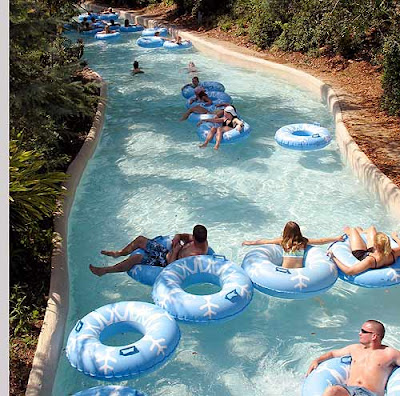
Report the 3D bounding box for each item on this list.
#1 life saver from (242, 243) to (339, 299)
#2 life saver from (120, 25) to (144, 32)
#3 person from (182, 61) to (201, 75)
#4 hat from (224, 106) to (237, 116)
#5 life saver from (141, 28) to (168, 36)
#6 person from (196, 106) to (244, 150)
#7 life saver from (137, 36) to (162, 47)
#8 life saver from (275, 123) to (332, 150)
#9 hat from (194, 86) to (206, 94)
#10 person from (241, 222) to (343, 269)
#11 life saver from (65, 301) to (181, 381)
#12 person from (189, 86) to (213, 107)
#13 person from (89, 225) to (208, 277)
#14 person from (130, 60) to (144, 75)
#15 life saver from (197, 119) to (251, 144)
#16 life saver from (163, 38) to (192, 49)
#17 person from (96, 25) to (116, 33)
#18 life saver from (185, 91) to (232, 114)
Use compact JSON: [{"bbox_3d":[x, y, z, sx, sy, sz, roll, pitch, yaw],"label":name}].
[{"bbox_3d":[1.383,1.180,6.508,1.433,0.490,0.963,8,20,18],"label":"life saver"},{"bbox_3d":[-4.605,-11.250,27.447,1.291,0.293,1.156,3,22,5],"label":"life saver"},{"bbox_3d":[-0.363,-5.631,18.180,0.753,0.298,0.799,-2,51,4],"label":"person"},{"bbox_3d":[0.908,-2.512,11.961,0.390,0.296,0.261,16,54,21],"label":"hat"},{"bbox_3d":[-2.837,-10.332,25.931,1.740,0.398,1.567,1,18,4],"label":"life saver"},{"bbox_3d":[0.485,-1.955,11.720,1.574,1.199,0.818,-17,70,-41],"label":"person"},{"bbox_3d":[-2.615,-8.689,23.059,1.045,0.302,0.930,9,26,16],"label":"life saver"},{"bbox_3d":[2.689,-1.602,10.877,1.420,0.521,1.233,5,19,9],"label":"life saver"},{"bbox_3d":[-0.011,-3.652,13.970,0.476,0.111,0.461,-4,16,34],"label":"hat"},{"bbox_3d":[1.549,1.125,7.000,1.725,1.260,0.515,-3,17,5],"label":"person"},{"bbox_3d":[-1.005,1.784,5.410,1.390,0.334,1.298,-15,27,-27],"label":"life saver"},{"bbox_3d":[0.023,-3.320,13.777,0.843,0.554,0.751,-2,19,4],"label":"person"},{"bbox_3d":[-0.842,0.838,6.996,1.829,0.947,0.698,7,22,-3],"label":"person"},{"bbox_3d":[-2.753,-5.663,18.062,0.542,0.562,0.964,-1,19,-7],"label":"person"},{"bbox_3d":[0.806,-1.907,11.596,0.974,0.915,0.224,24,58,-26],"label":"life saver"},{"bbox_3d":[-1.229,-8.272,22.233,1.200,0.269,1.078,3,21,2],"label":"life saver"},{"bbox_3d":[-5.761,-10.355,25.840,1.091,0.546,1.392,-4,16,-9],"label":"person"},{"bbox_3d":[0.275,-3.085,13.501,1.184,0.285,1.157,15,33,28],"label":"life saver"}]
